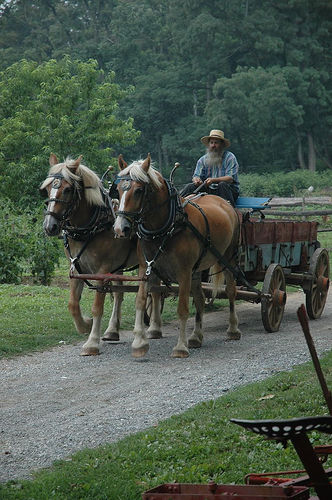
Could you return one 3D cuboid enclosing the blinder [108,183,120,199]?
[{"bbox_3d":[-0.686,-0.746,8.229,0.114,0.190,0.281,-3,3,-7],"label":"blinder"}]

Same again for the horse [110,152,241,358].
[{"bbox_3d":[0.200,0.125,7.490,0.879,2.103,3.125,-1,-1,24],"label":"horse"}]

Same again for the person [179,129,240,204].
[{"bbox_3d":[0.602,-1.095,9.026,1.040,1.182,0.872,-1,7,-10],"label":"person"}]

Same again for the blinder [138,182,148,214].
[{"bbox_3d":[-0.222,-0.513,6.367,0.065,0.243,0.194,14,1,12],"label":"blinder"}]
